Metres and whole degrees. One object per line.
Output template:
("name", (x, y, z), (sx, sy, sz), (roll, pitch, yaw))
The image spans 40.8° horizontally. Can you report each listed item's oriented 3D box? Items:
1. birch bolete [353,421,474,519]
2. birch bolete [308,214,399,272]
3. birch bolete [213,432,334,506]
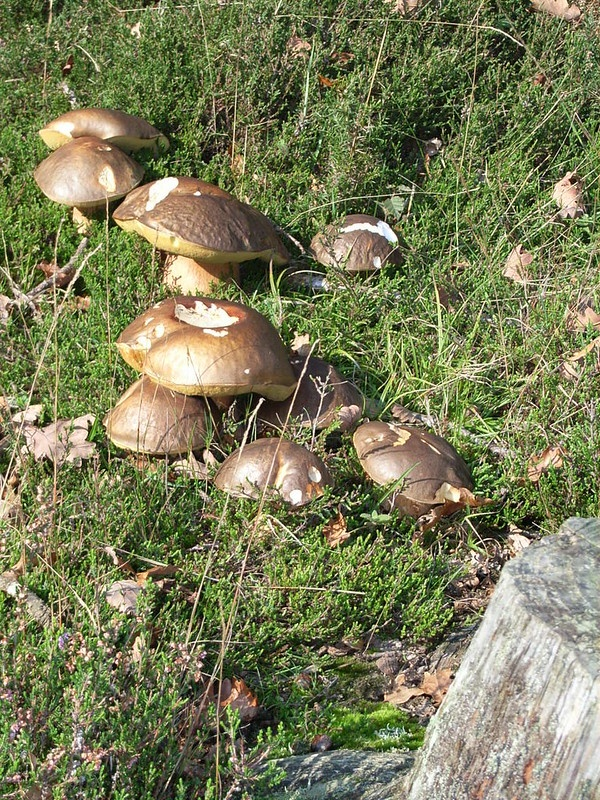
("birch bolete", (0.497, 0.289, 3.621), (0.488, 0.139, 0.407), (37, 35, 20))
("birch bolete", (0.368, -0.975, 5.091), (0.493, 0.156, 0.453), (-7, 41, -3))
("birch bolete", (-0.096, 0.235, 3.473), (0.525, 0.163, 0.493), (10, 28, 4))
